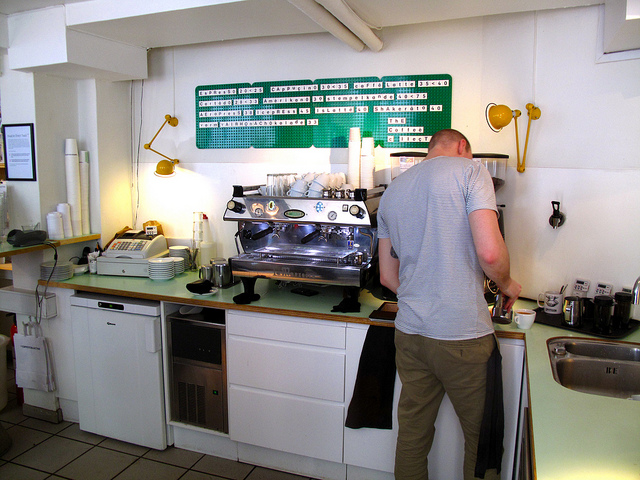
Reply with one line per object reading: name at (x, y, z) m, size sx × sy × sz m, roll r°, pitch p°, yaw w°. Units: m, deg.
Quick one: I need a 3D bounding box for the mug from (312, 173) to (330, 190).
mug at (0.003, -0.381, 3.250) m, size 0.084 × 0.082 × 0.105 m, roll 9°, pitch 0°, yaw 21°

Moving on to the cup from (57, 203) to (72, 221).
cup at (-1.961, -0.214, 3.847) m, size 0.068 × 0.125 × 0.105 m, roll 14°, pitch 19°, yaw 42°

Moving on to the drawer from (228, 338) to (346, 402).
drawer at (-0.123, 0.795, 3.333) m, size 0.819 × 0.323 × 0.613 m, roll 3°, pitch -1°, yaw 26°

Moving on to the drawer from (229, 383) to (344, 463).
drawer at (-0.133, 1.137, 3.348) m, size 0.797 × 0.439 × 0.608 m, roll 5°, pitch 8°, yaw 20°

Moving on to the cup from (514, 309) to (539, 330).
cup at (1.200, 0.454, 2.875) m, size 0.118 × 0.075 × 0.101 m, roll -6°, pitch 5°, yaw 1°

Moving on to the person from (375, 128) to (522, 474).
person at (0.632, 0.429, 2.627) m, size 0.729 × 1.702 × 0.351 m, roll 4°, pitch 15°, yaw 15°

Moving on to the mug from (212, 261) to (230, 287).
mug at (-0.676, 0.245, 3.393) m, size 0.102 × 0.174 × 0.186 m, roll 4°, pitch 8°, yaw 28°

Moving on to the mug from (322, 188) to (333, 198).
mug at (0.047, -0.290, 3.110) m, size 0.054 × 0.053 × 0.054 m, roll 10°, pitch 14°, yaw 44°

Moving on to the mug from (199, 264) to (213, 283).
mug at (-0.793, 0.227, 3.556) m, size 0.133 × 0.132 × 0.080 m, roll -1°, pitch 0°, yaw 30°

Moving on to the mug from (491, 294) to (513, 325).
mug at (1.024, 0.395, 2.815) m, size 0.114 × 0.146 × 0.118 m, roll 9°, pitch 17°, yaw 31°

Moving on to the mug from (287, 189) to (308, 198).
mug at (-0.156, -0.305, 3.221) m, size 0.078 × 0.055 × 0.059 m, roll -3°, pitch 6°, yaw -12°

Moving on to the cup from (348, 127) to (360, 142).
cup at (0.226, -0.737, 3.470) m, size 0.090 × 0.098 × 0.089 m, roll 1°, pitch 7°, yaw 0°

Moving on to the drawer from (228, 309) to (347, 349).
drawer at (-0.204, 0.537, 3.044) m, size 0.748 × 0.155 × 0.034 m, roll 4°, pitch 15°, yaw 14°

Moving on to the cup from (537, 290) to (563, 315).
cup at (1.435, 0.393, 3.091) m, size 0.145 × 0.124 × 0.096 m, roll -1°, pitch 0°, yaw 43°

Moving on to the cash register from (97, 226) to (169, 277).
cash register at (-1.432, 0.074, 3.943) m, size 0.578 × 0.336 × 0.605 m, roll -3°, pitch 11°, yaw -17°

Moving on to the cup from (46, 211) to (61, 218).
cup at (-2.014, -0.189, 3.766) m, size 0.091 × 0.033 × 0.062 m, roll -3°, pitch 15°, yaw -12°

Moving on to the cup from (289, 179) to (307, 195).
cup at (-0.142, -0.343, 3.256) m, size 0.099 × 0.069 × 0.076 m, roll -5°, pitch -12°, yaw 24°

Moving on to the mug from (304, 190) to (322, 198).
mug at (-0.052, -0.292, 3.166) m, size 0.081 × 0.059 × 0.061 m, roll 2°, pitch 5°, yaw 2°
